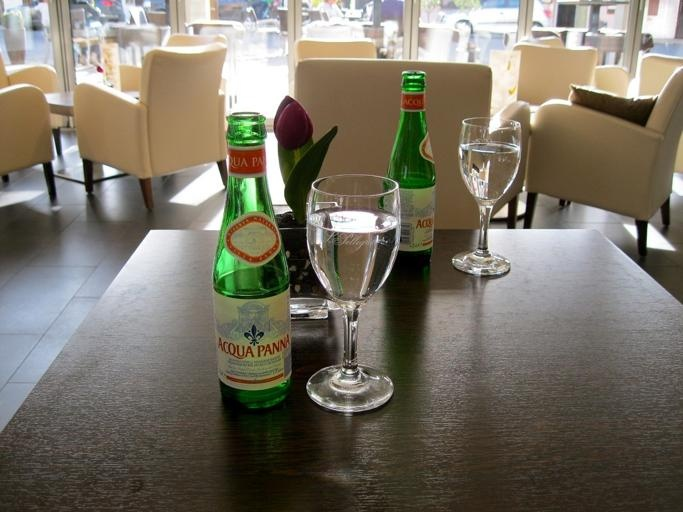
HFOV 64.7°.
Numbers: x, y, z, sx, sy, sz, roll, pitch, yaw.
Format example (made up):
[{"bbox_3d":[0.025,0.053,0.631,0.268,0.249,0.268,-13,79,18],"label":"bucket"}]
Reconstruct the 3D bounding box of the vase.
[{"bbox_3d":[-0.042,0.018,0.600,0.048,0.172,0.041,-8,27,-8],"label":"vase"}]

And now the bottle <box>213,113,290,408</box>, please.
[{"bbox_3d":[-0.096,-0.001,0.555,0.082,0.286,0.141,-2,20,-6],"label":"bottle"}]

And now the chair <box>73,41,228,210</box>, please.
[{"bbox_3d":[-1.172,-0.824,3.395,0.951,0.956,0.647,-7,21,-19],"label":"chair"}]

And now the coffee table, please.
[{"bbox_3d":[-1.688,-0.782,3.590,0.626,0.461,0.588,-21,40,-38],"label":"coffee table"}]

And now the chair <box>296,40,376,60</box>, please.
[{"bbox_3d":[-0.045,-1.606,4.189,0.625,0.137,0.271,-2,20,-5],"label":"chair"}]

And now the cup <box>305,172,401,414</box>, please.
[{"bbox_3d":[0.009,0.041,0.542,0.093,0.220,0.084,2,20,4],"label":"cup"}]

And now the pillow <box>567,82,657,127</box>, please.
[{"bbox_3d":[1.352,-0.755,2.712,0.401,0.177,0.156,11,23,26],"label":"pillow"}]
